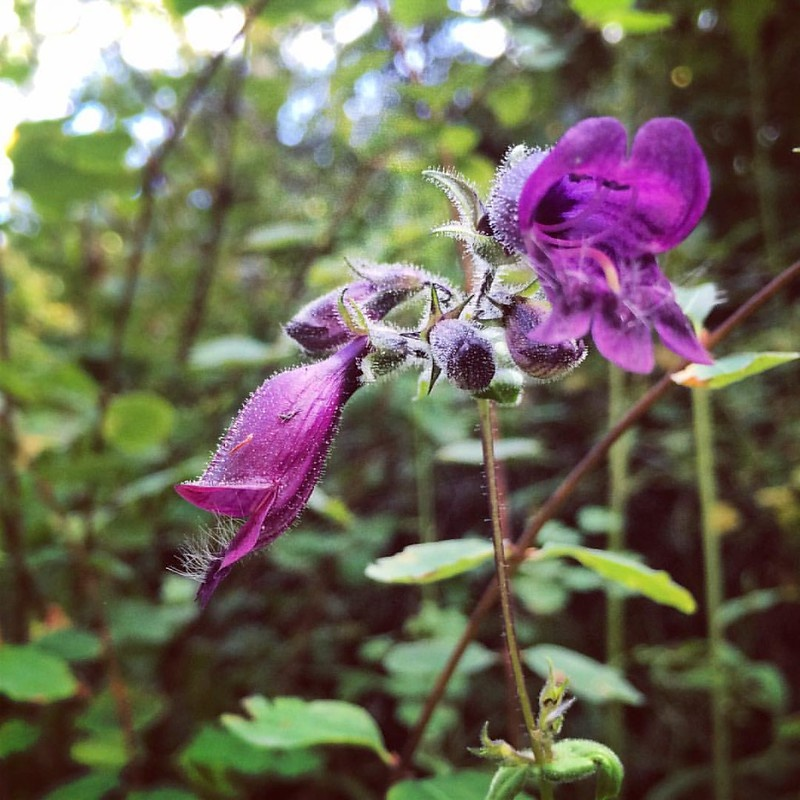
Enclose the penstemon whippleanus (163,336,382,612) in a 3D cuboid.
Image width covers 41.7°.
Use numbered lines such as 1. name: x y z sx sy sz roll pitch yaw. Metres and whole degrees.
1. penstemon whippleanus: -0.179 0.103 1.679 0.220 0.513 0.153 22 -38 28
